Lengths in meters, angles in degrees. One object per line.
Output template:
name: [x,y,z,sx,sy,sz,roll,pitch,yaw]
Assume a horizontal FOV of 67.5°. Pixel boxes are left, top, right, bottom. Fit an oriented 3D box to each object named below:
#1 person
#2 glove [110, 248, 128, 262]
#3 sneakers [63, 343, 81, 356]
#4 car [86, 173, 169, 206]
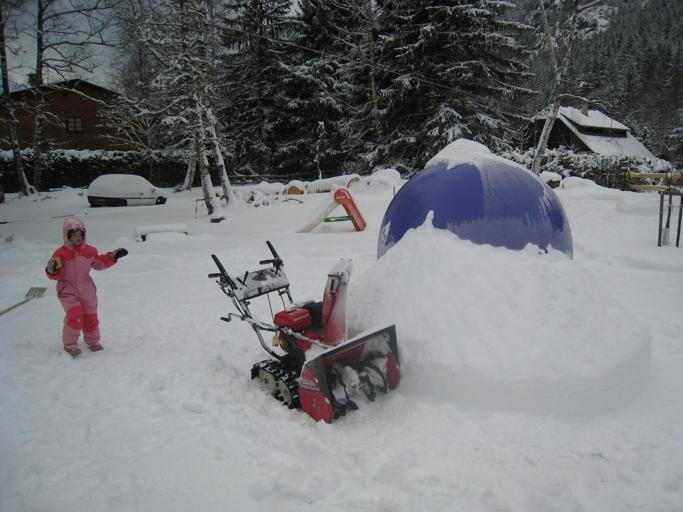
person: [-3.312,0.358,6.599,0.706,1.701,0.436,-9,12,-31]
glove: [-2.957,-0.010,6.725,0.256,0.126,0.166,2,14,33]
sneakers: [-3.428,1.181,6.487,0.239,0.144,0.154,6,13,39]
car: [-9.316,-2.754,21.791,1.729,1.282,2.676,10,14,39]
